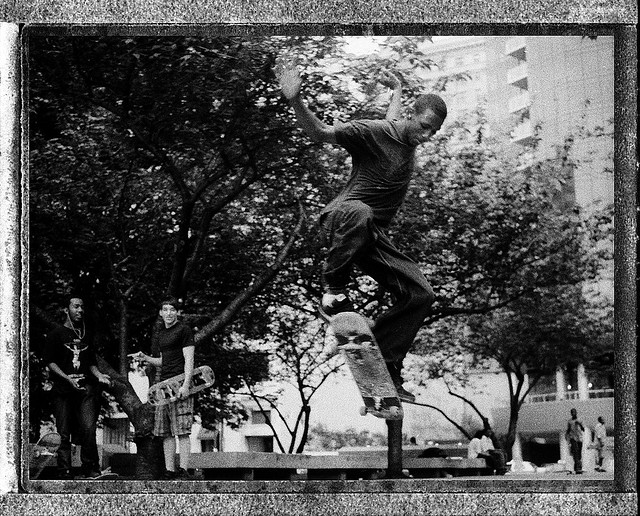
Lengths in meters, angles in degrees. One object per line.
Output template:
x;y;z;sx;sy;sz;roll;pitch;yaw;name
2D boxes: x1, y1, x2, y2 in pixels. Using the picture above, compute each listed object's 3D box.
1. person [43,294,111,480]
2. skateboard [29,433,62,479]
-3.439;1.826;23.636;0.789;2.536;0.682;2;-6;-33;person
-4.037;2.891;24.376;0.347;0.207;1.170;0;24;11;skateboard
